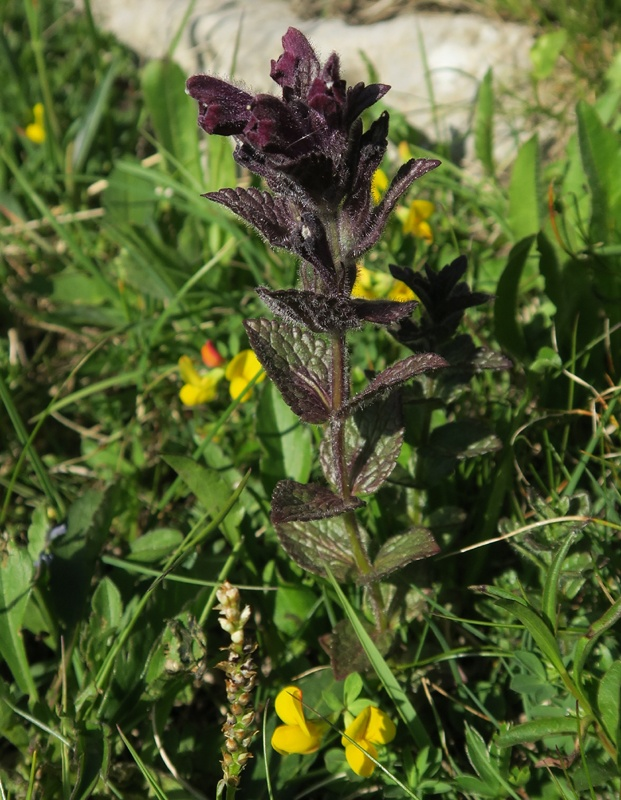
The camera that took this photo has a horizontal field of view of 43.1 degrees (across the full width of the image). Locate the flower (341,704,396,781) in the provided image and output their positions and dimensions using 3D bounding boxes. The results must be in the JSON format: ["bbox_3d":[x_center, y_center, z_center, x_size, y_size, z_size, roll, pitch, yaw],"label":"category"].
[{"bbox_3d":[0.091,0.586,1.344,0.104,0.037,0.124,24,31,8],"label":"flower"}]

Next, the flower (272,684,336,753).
[{"bbox_3d":[-0.029,0.569,1.375,0.079,0.100,0.094,-17,-2,-5],"label":"flower"}]
